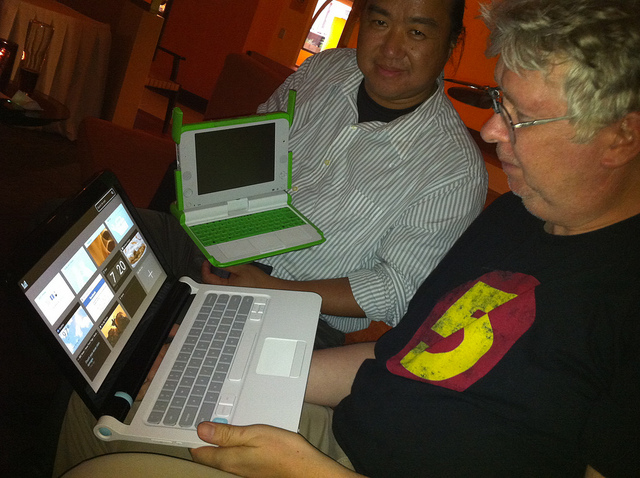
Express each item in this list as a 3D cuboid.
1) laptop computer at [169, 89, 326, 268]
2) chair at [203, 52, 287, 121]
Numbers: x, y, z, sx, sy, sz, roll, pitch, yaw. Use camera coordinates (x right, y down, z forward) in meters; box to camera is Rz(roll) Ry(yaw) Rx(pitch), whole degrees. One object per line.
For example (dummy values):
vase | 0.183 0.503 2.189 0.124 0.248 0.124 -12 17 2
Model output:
laptop computer | -0.227 -0.192 1.421 0.448 0.392 0.392 -11 39 -27
chair | -0.684 -1.071 3.299 0.403 0.453 0.702 -3 10 -15
